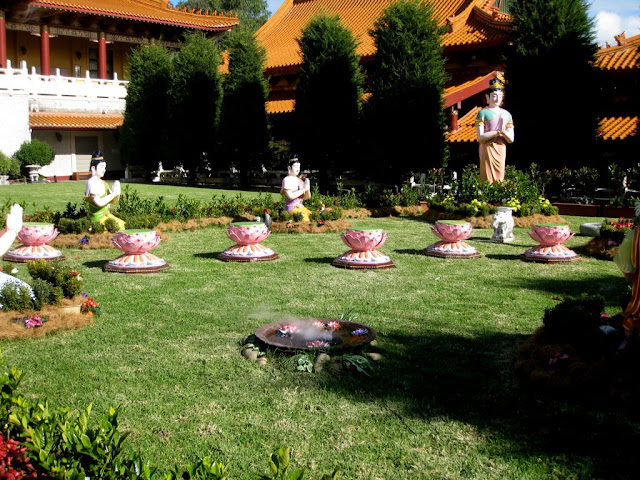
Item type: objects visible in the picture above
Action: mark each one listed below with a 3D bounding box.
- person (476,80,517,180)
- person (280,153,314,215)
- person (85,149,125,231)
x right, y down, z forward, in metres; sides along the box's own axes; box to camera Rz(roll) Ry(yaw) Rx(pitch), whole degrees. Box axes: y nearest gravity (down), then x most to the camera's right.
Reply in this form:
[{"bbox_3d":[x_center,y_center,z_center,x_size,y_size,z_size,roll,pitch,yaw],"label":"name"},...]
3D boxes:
[{"bbox_3d":[4.811,-3.013,15.643,0.972,2.827,0.955,5,12,19],"label":"person"},{"bbox_3d":[-0.598,-1.262,13.845,0.723,1.557,1.337,0,11,-2],"label":"person"},{"bbox_3d":[-4.267,-0.937,11.149,0.726,1.578,0.903,-3,12,-20],"label":"person"}]
